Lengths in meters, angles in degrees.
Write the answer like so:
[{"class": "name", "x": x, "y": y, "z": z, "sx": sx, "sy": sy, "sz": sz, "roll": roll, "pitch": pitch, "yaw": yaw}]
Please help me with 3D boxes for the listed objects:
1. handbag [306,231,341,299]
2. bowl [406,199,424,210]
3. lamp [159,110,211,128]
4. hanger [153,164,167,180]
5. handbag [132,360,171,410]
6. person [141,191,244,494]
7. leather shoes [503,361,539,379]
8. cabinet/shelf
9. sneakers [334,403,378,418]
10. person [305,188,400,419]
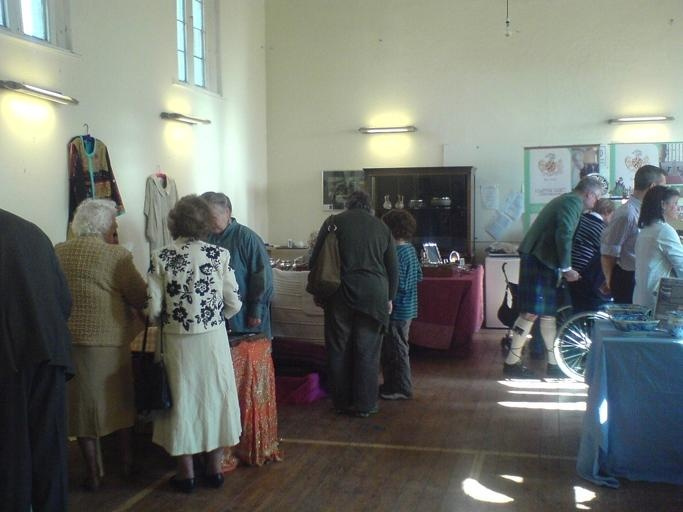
[{"class": "handbag", "x": -0.145, "y": 0.099, "z": 5.372, "sx": 0.202, "sy": 0.634, "sz": 0.464, "roll": 13, "pitch": -28, "yaw": -13}, {"class": "bowl", "x": 1.144, "y": -0.788, "z": 9.098, "sx": 0.160, "sy": 0.132, "sz": 0.154, "roll": 0, "pitch": 8, "yaw": 0}, {"class": "lamp", "x": -2.032, "y": -1.819, "z": 7.943, "sx": 0.211, "sy": 0.156, "sz": 0.922, "roll": 3, "pitch": 10, "yaw": 20}, {"class": "hanger", "x": -2.271, "y": -1.067, "z": 7.578, "sx": 0.075, "sy": 0.188, "sz": 0.301, "roll": 1, "pitch": 9, "yaw": 13}, {"class": "handbag", "x": -1.267, "y": 0.865, "z": 4.033, "sx": 0.247, "sy": 0.368, "sz": 0.136, "roll": -5, "pitch": -10, "yaw": 3}, {"class": "person", "x": -1.006, "y": 0.471, "z": 4.144, "sx": 0.619, "sy": 1.717, "sz": 0.343, "roll": -3, "pitch": 9, "yaw": -13}, {"class": "leather shoes", "x": 1.922, "y": 1.228, "z": 6.443, "sx": 0.368, "sy": 0.172, "sz": 0.136, "roll": 0, "pitch": 2, "yaw": 3}, {"class": "cabinet/shelf", "x": 1.100, "y": -0.597, "z": 8.040, "sx": 1.252, "sy": 1.406, "sz": 0.480, "roll": 0, "pitch": 0, "yaw": 13}, {"class": "sneakers", "x": 0.121, "y": 1.419, "z": 5.499, "sx": 0.401, "sy": 0.201, "sz": 0.146, "roll": -7, "pitch": -2, "yaw": 17}, {"class": "person", "x": 0.111, "y": 0.526, "z": 5.391, "sx": 0.794, "sy": 1.821, "sz": 0.335, "roll": 0, "pitch": 8, "yaw": 5}]
